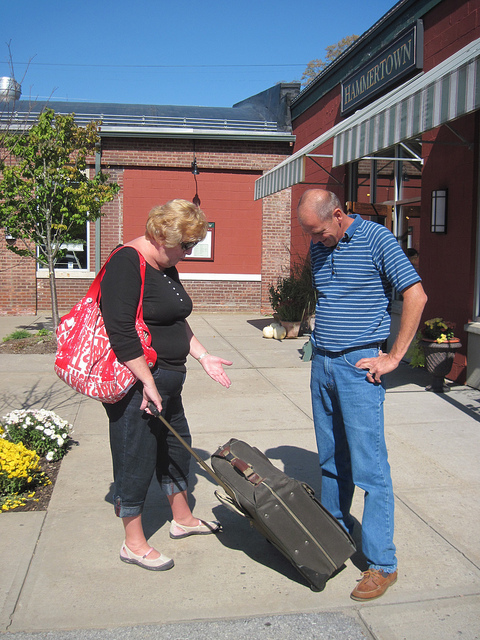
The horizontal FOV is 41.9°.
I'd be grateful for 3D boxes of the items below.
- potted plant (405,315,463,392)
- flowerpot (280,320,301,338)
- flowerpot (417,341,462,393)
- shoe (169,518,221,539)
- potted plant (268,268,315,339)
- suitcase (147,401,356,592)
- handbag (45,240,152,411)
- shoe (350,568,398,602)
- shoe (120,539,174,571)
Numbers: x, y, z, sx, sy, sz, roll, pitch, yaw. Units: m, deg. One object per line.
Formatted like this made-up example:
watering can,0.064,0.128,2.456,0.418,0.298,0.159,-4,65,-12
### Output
potted plant,2.160,0.366,6.774,0.529,0.753,0.483,9,-9,-38
flowerpot,0.887,0.149,10.809,0.306,0.221,0.295,0,5,0
flowerpot,2.121,0.492,6.701,0.382,0.556,0.326,1,7,5
shoe,-0.250,1.140,3.436,0.281,0.097,0.100,-4,5,-16
potted plant,0.990,-0.394,11.107,0.890,1.244,0.795,1,-1,40
suitcase,0.050,0.714,2.867,0.360,1.111,0.424,-43,11,-18
handbag,-0.611,-0.016,2.820,0.516,0.700,0.282,17,13,32
shoe,0.603,1.181,2.814,0.236,0.107,0.096,-6,10,-45
shoe,-0.447,1.161,3.034,0.289,0.096,0.121,2,4,22
